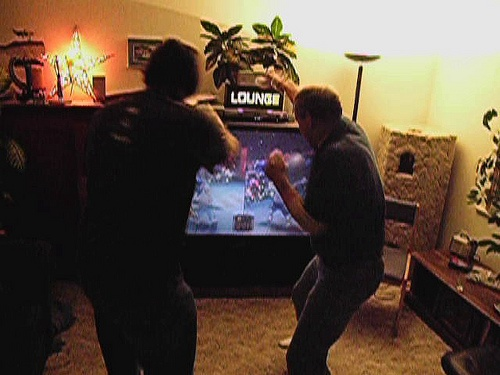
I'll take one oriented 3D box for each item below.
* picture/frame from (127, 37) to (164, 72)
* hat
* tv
[{"bbox_3d":[-0.780,-0.990,2.883,0.256,0.277,0.030,-2,-20,-12],"label":"picture/frame"},{"bbox_3d":[-0.316,-0.480,1.597,0.165,0.266,0.247,3,23,-10],"label":"hat"},{"bbox_3d":[-0.002,-0.118,2.896,0.850,0.924,0.344,0,33,-5],"label":"tv"}]
